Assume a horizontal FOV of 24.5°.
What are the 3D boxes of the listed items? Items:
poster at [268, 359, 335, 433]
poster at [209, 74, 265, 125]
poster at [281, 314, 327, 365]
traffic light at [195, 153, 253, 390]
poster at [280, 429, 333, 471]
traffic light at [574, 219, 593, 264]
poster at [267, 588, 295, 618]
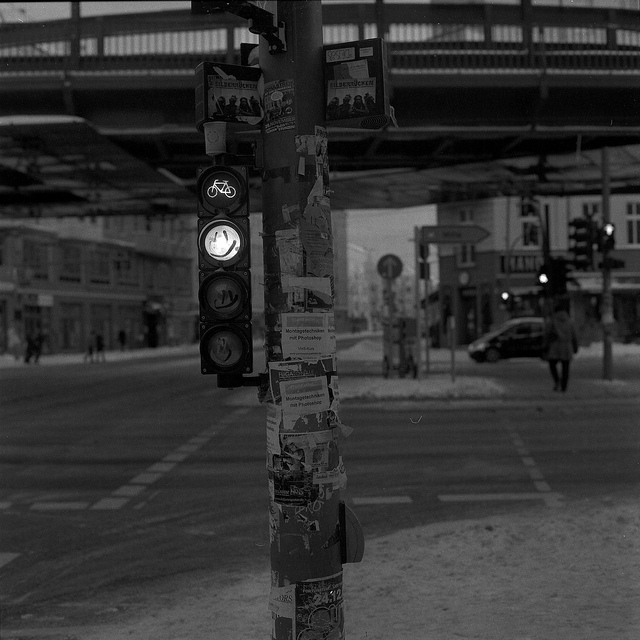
[{"bbox_3d":[-0.090,0.470,8.726,0.403,0.540,0.059,-5,19,1],"label":"poster"},{"bbox_3d":[-0.503,-1.317,8.696,0.366,0.326,0.223,1,4,-3],"label":"poster"},{"bbox_3d":[-0.089,0.107,8.682,0.237,0.296,0.261,0,-4,-3],"label":"poster"},{"bbox_3d":[-0.568,-0.297,8.688,0.318,0.962,0.232,-2,1,-5],"label":"traffic light"},{"bbox_3d":[-0.080,0.773,8.710,0.303,0.153,0.038,-3,1,-9],"label":"poster"},{"bbox_3d":[2.022,-0.643,11.382,0.148,0.442,0.081,5,37,18],"label":"traffic light"},{"bbox_3d":[-0.243,1.689,8.784,0.147,0.146,0.124,-7,-2,-18],"label":"poster"}]
